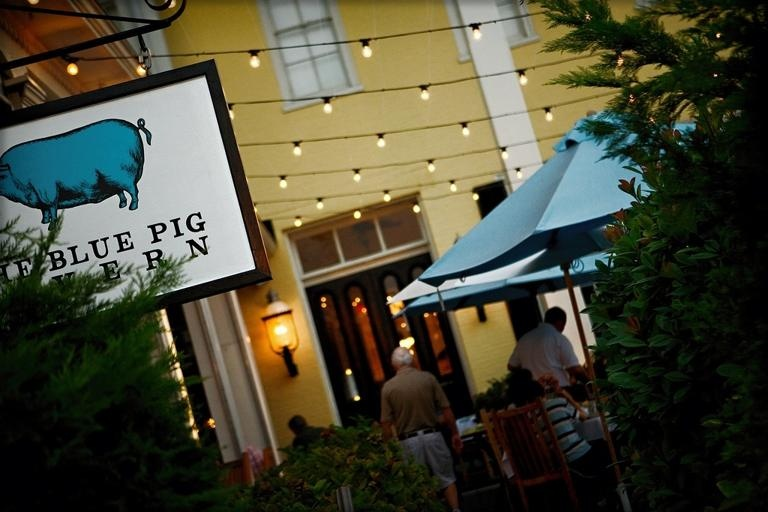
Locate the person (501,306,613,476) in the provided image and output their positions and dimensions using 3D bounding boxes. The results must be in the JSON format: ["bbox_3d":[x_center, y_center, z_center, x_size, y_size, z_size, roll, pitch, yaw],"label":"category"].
[{"bbox_3d":[1.568,1.029,6.571,0.998,1.987,0.710,21,52,41],"label":"person"}]

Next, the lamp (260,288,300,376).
[{"bbox_3d":[-1.493,1.143,10.251,0.418,1.277,0.385,-18,-17,23],"label":"lamp"}]

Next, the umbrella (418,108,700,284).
[{"bbox_3d":[1.051,-0.115,4.668,1.206,0.488,1.188,-25,-1,-37],"label":"umbrella"}]
